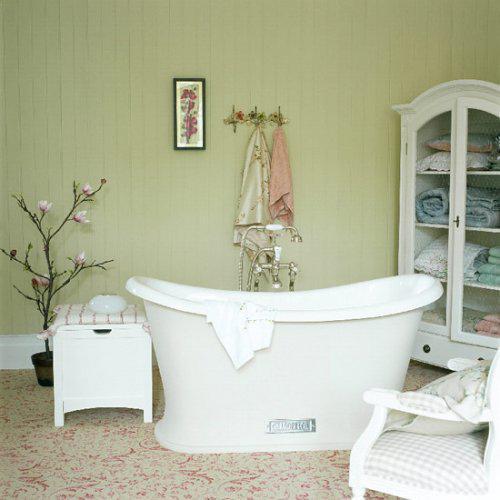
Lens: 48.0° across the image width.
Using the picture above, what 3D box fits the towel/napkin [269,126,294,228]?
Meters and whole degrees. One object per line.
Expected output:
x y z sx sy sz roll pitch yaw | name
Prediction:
0.200 -0.476 3.636 0.155 0.625 0.249 1 7 5 | towel/napkin

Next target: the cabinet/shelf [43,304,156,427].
-0.727 0.579 3.004 0.626 0.512 0.677 -1 -3 4 | cabinet/shelf

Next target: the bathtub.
0.157 0.515 2.724 1.508 0.774 0.631 3 1 -8 | bathtub

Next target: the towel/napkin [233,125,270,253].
0.005 -0.408 3.615 0.242 0.793 0.257 0 7 -2 | towel/napkin
